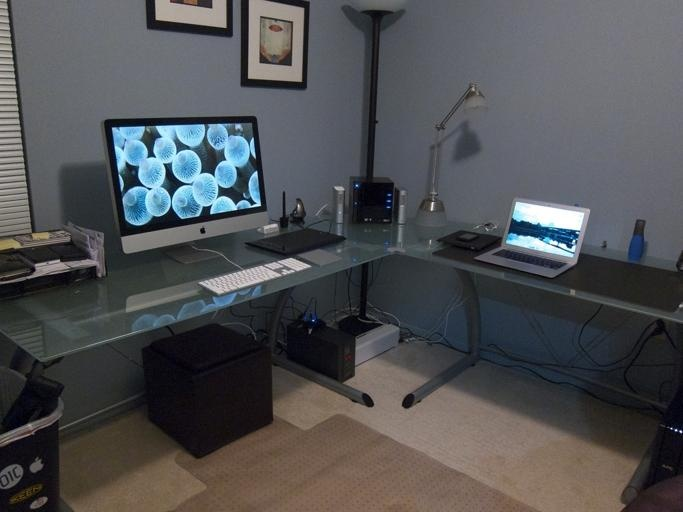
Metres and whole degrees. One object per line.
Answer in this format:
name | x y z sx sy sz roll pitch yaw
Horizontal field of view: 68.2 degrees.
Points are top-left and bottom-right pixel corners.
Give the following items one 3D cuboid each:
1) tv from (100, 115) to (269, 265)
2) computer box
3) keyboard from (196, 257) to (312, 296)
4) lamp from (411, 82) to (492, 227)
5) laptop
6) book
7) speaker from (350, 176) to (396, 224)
tv | -0.747 -0.304 2.310 0.191 0.455 0.620 22 26 36
computer box | -0.135 0.553 3.049 0.406 0.259 0.154 16 23 37
keyboard | -0.355 0.079 2.168 0.491 0.027 0.166 -17 26 -41
lamp | 0.648 -0.606 3.003 0.344 0.802 0.487 5 19 14
laptop | 0.938 -0.112 2.485 0.512 0.283 0.519 0 16 -3
book | -1.207 -0.007 2.068 0.371 0.201 0.337 -15 25 -39
speaker | 0.175 -0.339 3.010 0.249 0.263 0.265 -2 14 -5
